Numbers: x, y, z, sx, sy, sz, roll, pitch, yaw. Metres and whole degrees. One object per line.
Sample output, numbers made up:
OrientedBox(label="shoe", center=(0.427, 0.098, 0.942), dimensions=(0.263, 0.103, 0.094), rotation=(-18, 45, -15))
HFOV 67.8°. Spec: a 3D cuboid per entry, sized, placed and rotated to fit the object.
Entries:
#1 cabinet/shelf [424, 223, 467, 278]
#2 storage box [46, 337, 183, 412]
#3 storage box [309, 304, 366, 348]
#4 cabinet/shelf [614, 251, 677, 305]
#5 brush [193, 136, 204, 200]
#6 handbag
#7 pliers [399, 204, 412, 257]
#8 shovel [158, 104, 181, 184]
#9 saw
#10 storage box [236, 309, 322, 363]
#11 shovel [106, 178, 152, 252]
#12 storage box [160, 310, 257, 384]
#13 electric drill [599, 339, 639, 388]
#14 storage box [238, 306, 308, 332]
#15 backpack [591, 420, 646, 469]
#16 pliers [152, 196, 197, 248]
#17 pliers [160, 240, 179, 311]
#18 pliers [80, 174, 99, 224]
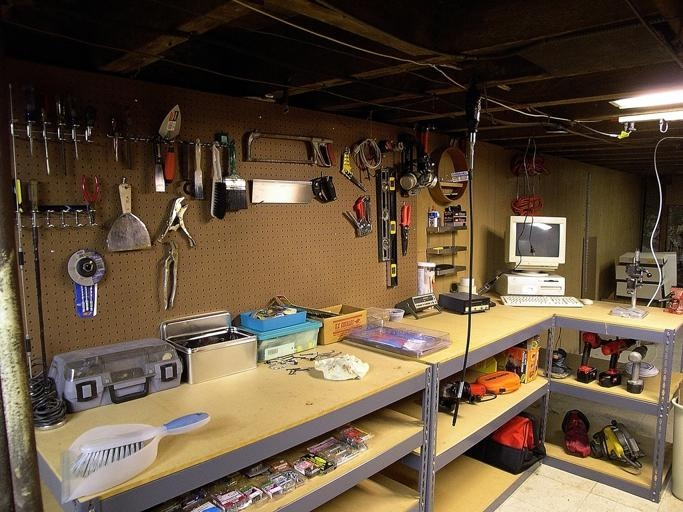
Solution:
OrientedBox(label="cabinet/shelf", center=(0.773, -0.042, 3.840), dimensions=(0.122, 0.361, 0.392), rotation=(2, 9, 32))
OrientedBox(label="storage box", center=(-0.983, 0.427, 2.135), dimensions=(0.307, 0.231, 0.428), rotation=(14, 10, 40))
OrientedBox(label="storage box", center=(-0.054, 0.367, 2.827), dimensions=(0.273, 0.122, 0.186), rotation=(-8, 10, -44))
OrientedBox(label="cabinet/shelf", center=(3.575, 0.270, 5.959), dimensions=(0.739, 0.742, 0.796), rotation=(0, -2, 42))
OrientedBox(label="brush", center=(-0.680, -0.404, 2.403), dimensions=(0.048, 0.283, 0.075), rotation=(-3, 7, -10))
OrientedBox(label="handbag", center=(1.122, 1.172, 3.480), dimensions=(0.469, 0.354, 0.486), rotation=(14, 7, 21))
OrientedBox(label="pliers", center=(0.455, -0.176, 3.503), dimensions=(0.057, 0.357, 0.160), rotation=(2, 8, 28))
OrientedBox(label="shovel", center=(-0.769, -0.494, 2.288), dimensions=(0.042, 0.347, 0.108), rotation=(8, 10, 21))
OrientedBox(label="saw", center=(-0.272, -0.570, 2.754), dimensions=(0.573, 0.180, 0.066), rotation=(-8, 9, -44))
OrientedBox(label="storage box", center=(-0.304, 0.380, 2.609), dimensions=(0.229, 0.163, 0.339), rotation=(5, 7, 45))
OrientedBox(label="shovel", center=(-0.927, -0.165, 2.196), dimensions=(0.167, 0.279, 0.044), rotation=(-5, 7, -25))
OrientedBox(label="storage box", center=(-0.618, 0.328, 2.351), dimensions=(0.400, 0.259, 0.276), rotation=(-8, 11, -43))
OrientedBox(label="electric drill", center=(1.941, 0.736, 3.555), dimensions=(0.369, 0.297, 0.106), rotation=(-6, 8, -29))
OrientedBox(label="storage box", center=(-0.338, 0.293, 2.591), dimensions=(0.254, 0.104, 0.268), rotation=(11, 8, 42))
OrientedBox(label="backpack", center=(1.853, 1.268, 3.529), dimensions=(0.353, 0.282, 0.328), rotation=(9, 6, -2))
OrientedBox(label="pliers", center=(-0.764, -0.148, 2.337), dimensions=(0.191, 0.241, 0.052), rotation=(-8, 9, -44))
OrientedBox(label="pliers", center=(-0.789, 0.096, 2.340), dimensions=(0.084, 0.316, 0.036), rotation=(-5, 8, -28))
OrientedBox(label="pliers", center=(-1.038, -0.226, 2.122), dimensions=(0.077, 0.206, 0.056), rotation=(-6, 8, -33))
